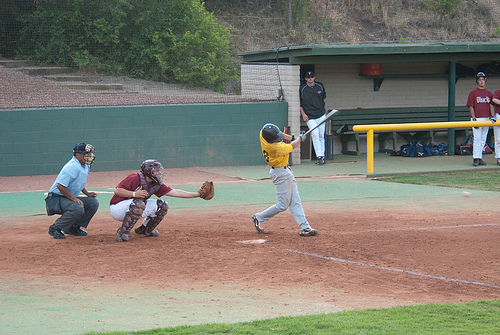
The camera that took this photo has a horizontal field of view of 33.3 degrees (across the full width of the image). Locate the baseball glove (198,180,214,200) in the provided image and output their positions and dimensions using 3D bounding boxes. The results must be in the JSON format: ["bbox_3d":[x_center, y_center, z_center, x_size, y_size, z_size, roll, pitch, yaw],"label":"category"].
[{"bbox_3d":[-0.845,0.438,16.365,0.339,0.318,0.136,-1,11,-19],"label":"baseball glove"}]

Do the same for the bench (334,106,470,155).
[{"bbox_3d":[4.579,-1.181,26.405,4.430,1.539,0.936,-1,3,-18],"label":"bench"}]

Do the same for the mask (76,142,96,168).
[{"bbox_3d":[-3.210,-0.298,16.755,0.566,0.448,0.381,-4,3,3],"label":"mask"}]

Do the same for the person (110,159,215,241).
[{"bbox_3d":[-1.711,0.651,16.535,2.206,1.269,1.027,1,-5,-13],"label":"person"}]

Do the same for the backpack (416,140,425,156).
[{"bbox_3d":[5.178,-0.583,25.503,0.267,0.428,0.381,1,3,10],"label":"backpack"}]

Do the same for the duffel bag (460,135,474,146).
[{"bbox_3d":[6.788,-0.835,26.128,0.290,0.377,0.124,51,5,-47],"label":"duffel bag"}]

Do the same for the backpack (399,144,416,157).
[{"bbox_3d":[4.803,-0.531,25.476,0.378,0.383,0.428,0,3,-15],"label":"backpack"}]

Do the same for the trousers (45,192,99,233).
[{"bbox_3d":[-3.540,0.895,16.666,1.021,0.807,0.407,0,3,-11],"label":"trousers"}]

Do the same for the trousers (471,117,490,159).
[{"bbox_3d":[6.340,-0.695,23.107,0.389,0.891,0.460,1,3,14],"label":"trousers"}]

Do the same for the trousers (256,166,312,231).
[{"bbox_3d":[0.664,0.603,16.771,1.044,1.240,0.296,1,3,6],"label":"trousers"}]

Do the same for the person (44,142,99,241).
[{"bbox_3d":[-3.530,0.468,16.623,1.012,1.900,0.425,0,3,-11],"label":"person"}]

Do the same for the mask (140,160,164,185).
[{"bbox_3d":[-1.905,0.055,16.282,0.529,0.399,0.401,10,4,20],"label":"mask"}]

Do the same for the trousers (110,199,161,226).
[{"bbox_3d":[-2.247,0.885,16.440,0.863,0.548,0.405,-1,3,-25],"label":"trousers"}]
